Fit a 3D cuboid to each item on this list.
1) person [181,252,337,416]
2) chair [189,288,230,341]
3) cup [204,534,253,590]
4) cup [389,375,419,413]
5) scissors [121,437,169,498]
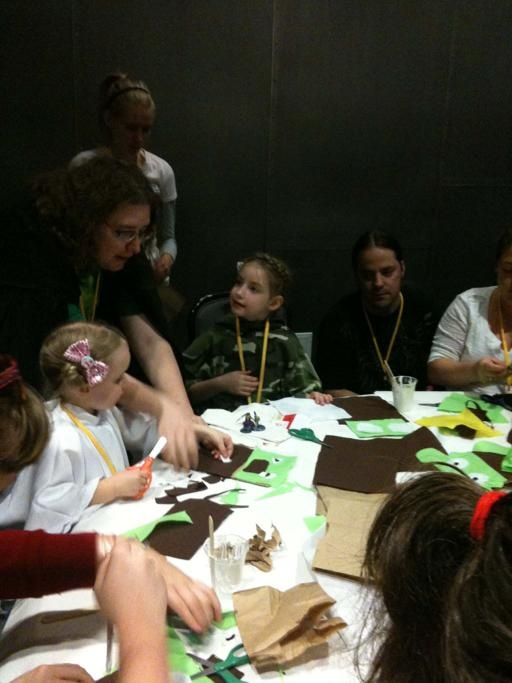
[{"bbox_3d":[-0.019,-0.036,2.572,0.841,0.873,0.516,-2,10,-11],"label":"person"},{"bbox_3d":[-0.225,-0.133,2.570,0.201,0.232,0.211,1,5,-11],"label":"chair"},{"bbox_3d":[-0.054,0.408,1.115,0.105,0.094,0.104,1,14,0],"label":"cup"},{"bbox_3d":[0.488,0.180,1.990,0.130,0.126,0.117,0,7,0],"label":"cup"},{"bbox_3d":[-0.261,0.309,1.396,0.060,0.031,0.132,26,55,19],"label":"scissors"}]
